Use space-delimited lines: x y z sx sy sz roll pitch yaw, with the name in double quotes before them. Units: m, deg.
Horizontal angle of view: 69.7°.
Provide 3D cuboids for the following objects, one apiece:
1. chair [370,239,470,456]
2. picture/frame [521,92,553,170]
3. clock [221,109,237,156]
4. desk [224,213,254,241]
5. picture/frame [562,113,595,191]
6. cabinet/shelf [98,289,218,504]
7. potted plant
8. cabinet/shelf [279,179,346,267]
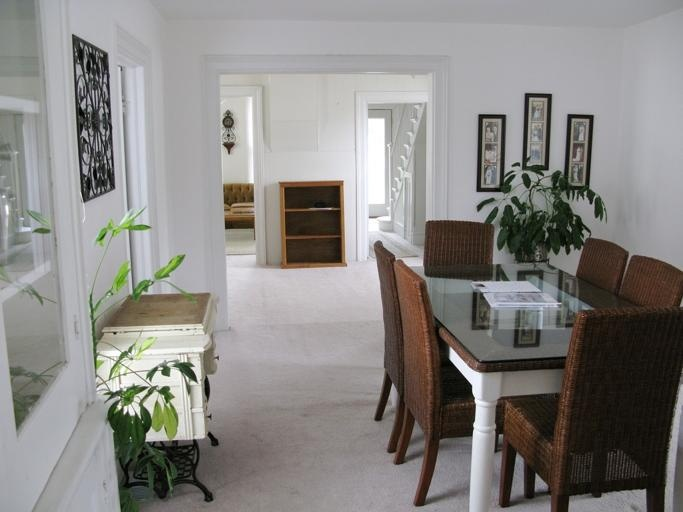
"chair" 0.527 0.574 2.985 0.708 1.123 0.708 7 3 23
"picture/frame" 1.961 -1.222 4.883 0.034 0.736 0.296 -17 22 -30
"clock" -2.461 -2.692 10.700 0.308 0.958 0.175 -4 13 -15
"desk" -2.032 -0.662 9.782 0.755 0.548 0.434 0 4 -4
"picture/frame" 2.418 -1.037 4.956 0.037 0.729 0.296 -11 19 -19
"cabinet/shelf" -0.928 0.895 2.762 0.341 0.683 0.737 -2 1 -12
"potted plant" 1.965 -0.384 4.902 1.009 0.828 1.075 0 13 -1
"cabinet/shelf" -0.467 -0.542 7.424 1.116 1.532 0.417 -1 4 -7
